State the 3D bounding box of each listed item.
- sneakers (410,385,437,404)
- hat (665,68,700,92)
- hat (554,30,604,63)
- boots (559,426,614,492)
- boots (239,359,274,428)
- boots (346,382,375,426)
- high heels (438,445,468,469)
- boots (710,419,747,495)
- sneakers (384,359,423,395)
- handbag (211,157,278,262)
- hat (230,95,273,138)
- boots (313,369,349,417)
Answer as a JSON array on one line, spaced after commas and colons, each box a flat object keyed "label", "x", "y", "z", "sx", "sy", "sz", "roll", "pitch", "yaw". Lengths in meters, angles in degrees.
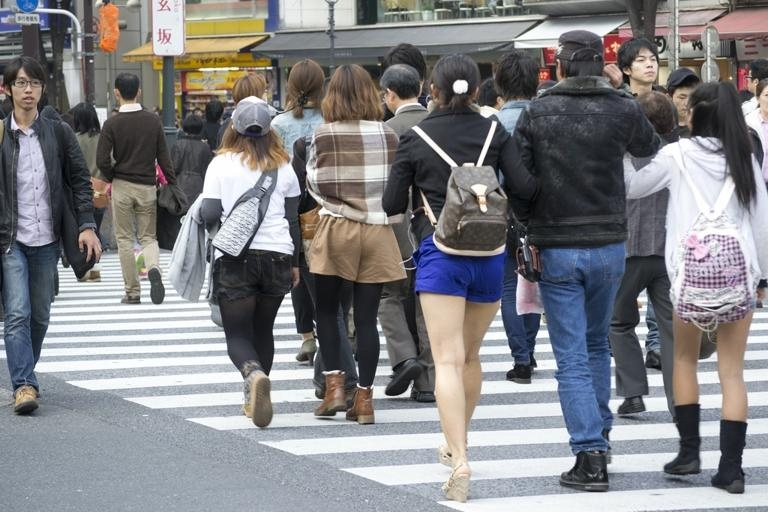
[{"label": "sneakers", "x": 0.353, "y": 1.207, "z": 8.860, "sx": 0.093, "sy": 0.108, "sz": 0.250, "roll": 2, "pitch": -7, "yaw": -18}, {"label": "hat", "x": 2.594, "y": -1.546, "z": 8.890, "sx": 0.185, "sy": 0.137, "sz": 0.257, "roll": 1, "pitch": -16, "yaw": -9}, {"label": "hat", "x": 1.343, "y": -1.442, "z": 6.949, "sx": 0.309, "sy": 0.213, "sz": 0.175, "roll": 1, "pitch": 8, "yaw": 10}, {"label": "boots", "x": 1.433, "y": 1.422, "z": 7.054, "sx": 0.222, "sy": 0.440, "sz": 0.450, "roll": -2, "pitch": 9, "yaw": -36}, {"label": "boots", "x": -0.941, "y": 1.102, "z": 7.963, "sx": 0.210, "sy": 0.619, "sz": 0.281, "roll": -15, "pitch": 34, "yaw": -23}, {"label": "boots", "x": -0.197, "y": 1.219, "z": 8.382, "sx": 0.184, "sy": 0.315, "sz": 0.429, "roll": 2, "pitch": -5, "yaw": -18}, {"label": "high heels", "x": 0.491, "y": 1.415, "z": 7.143, "sx": 0.127, "sy": 0.145, "sz": 0.215, "roll": -2, "pitch": 14, "yaw": -15}, {"label": "boots", "x": 2.344, "y": 1.340, "z": 6.887, "sx": 0.222, "sy": 0.517, "sz": 0.226, "roll": 2, "pitch": 8, "yaw": 19}, {"label": "sneakers", "x": 0.163, "y": 0.996, "z": 8.445, "sx": 0.170, "sy": 0.454, "sz": 0.198, "roll": 9, "pitch": 40, "yaw": -36}, {"label": "handbag", "x": -1.031, "y": -0.370, "z": 8.027, "sx": 0.301, "sy": 0.810, "sz": 0.195, "roll": 31, "pitch": -12, "yaw": 4}, {"label": "hat", "x": -1.047, "y": -1.134, "z": 8.130, "sx": 0.240, "sy": 0.138, "sz": 0.366, "roll": 1, "pitch": 36, "yaw": -8}, {"label": "boots", "x": -0.439, "y": 1.116, "z": 8.343, "sx": 0.179, "sy": 0.344, "sz": 0.419, "roll": 5, "pitch": -21, "yaw": -31}]
